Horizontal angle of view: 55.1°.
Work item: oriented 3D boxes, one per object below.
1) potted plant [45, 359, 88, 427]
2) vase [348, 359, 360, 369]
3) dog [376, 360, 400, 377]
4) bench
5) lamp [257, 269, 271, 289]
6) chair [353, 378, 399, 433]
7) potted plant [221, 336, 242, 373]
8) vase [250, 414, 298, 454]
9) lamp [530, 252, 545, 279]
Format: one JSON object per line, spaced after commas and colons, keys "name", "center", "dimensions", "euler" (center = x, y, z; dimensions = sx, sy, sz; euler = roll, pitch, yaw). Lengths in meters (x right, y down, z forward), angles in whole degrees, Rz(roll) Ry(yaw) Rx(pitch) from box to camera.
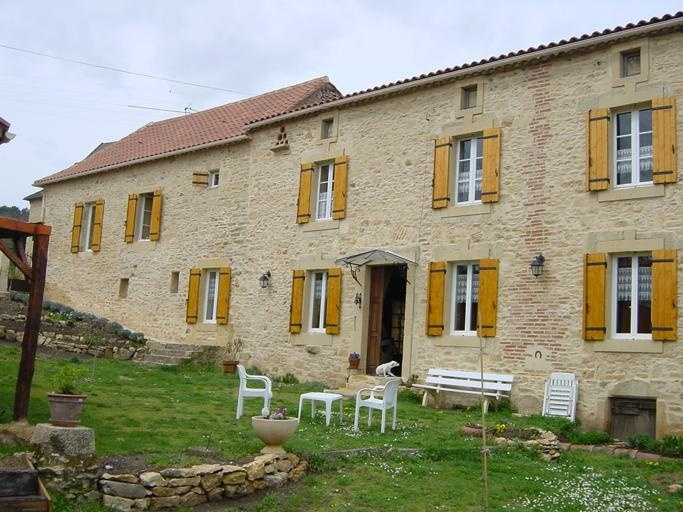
{"name": "potted plant", "center": [-4.020, 2.042, 9.640], "dimensions": [0.663, 0.729, 0.507], "euler": [-1, -23, -11]}
{"name": "vase", "center": [0.328, 2.641, 15.967], "dimensions": [0.288, 0.167, 0.284], "euler": [2, -1, -40]}
{"name": "dog", "center": [1.026, 2.622, 15.098], "dimensions": [0.684, 0.364, 0.338], "euler": [-3, -3, 4]}
{"name": "bench", "center": [2.580, 2.923, 14.083], "dimensions": [2.028, 0.561, 0.675], "euler": [-1, 6, 32]}
{"name": "lamp", "center": [-2.153, 0.651, 17.983], "dimensions": [0.244, 0.513, 0.399], "euler": [3, 4, -41]}
{"name": "chair", "center": [0.632, 2.729, 12.013], "dimensions": [0.908, 0.735, 0.781], "euler": [4, -9, -8]}
{"name": "potted plant", "center": [-3.016, 2.732, 18.122], "dimensions": [0.506, 0.859, 0.996], "euler": [5, 3, -8]}
{"name": "vase", "center": [-1.097, 2.791, 10.038], "dimensions": [0.872, 0.455, 0.750], "euler": [-3, -9, 5]}
{"name": "lamp", "center": [4.123, 0.211, 13.813], "dimensions": [0.301, 0.364, 0.215], "euler": [7, 4, 23]}
